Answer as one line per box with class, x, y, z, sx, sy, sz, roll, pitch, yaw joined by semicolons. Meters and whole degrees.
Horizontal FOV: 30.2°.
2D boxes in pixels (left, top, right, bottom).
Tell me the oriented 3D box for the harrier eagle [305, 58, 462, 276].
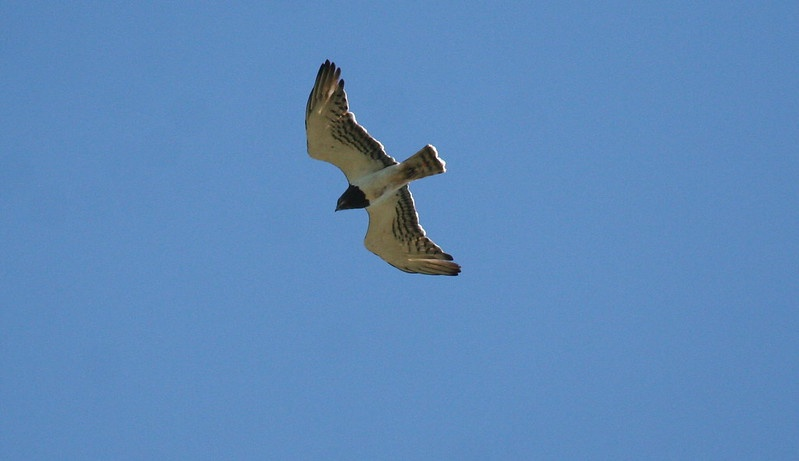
harrier eagle;-0.282;-0.280;19.968;1.523;3.207;3.015;-19;-61;4
